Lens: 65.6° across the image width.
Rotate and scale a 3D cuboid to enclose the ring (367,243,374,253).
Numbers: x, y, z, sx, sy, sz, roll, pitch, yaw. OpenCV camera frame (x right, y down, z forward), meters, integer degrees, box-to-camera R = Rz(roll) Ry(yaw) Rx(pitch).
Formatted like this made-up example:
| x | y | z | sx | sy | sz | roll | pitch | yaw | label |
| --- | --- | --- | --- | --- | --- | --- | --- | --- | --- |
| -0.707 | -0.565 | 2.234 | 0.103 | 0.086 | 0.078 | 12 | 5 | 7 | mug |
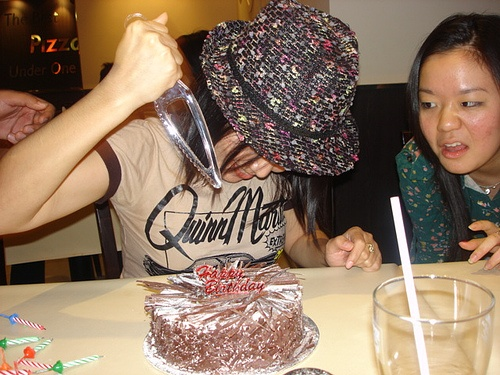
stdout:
| x | y | z | sx | sy | sz | roll | pitch | yaw | label |
| --- | --- | --- | --- | --- | --- | --- | --- | --- | --- |
| 0.399 | 0.201 | 1.280 | 0.013 | 0.022 | 0.028 | 10 | 2 | 41 | ring |
